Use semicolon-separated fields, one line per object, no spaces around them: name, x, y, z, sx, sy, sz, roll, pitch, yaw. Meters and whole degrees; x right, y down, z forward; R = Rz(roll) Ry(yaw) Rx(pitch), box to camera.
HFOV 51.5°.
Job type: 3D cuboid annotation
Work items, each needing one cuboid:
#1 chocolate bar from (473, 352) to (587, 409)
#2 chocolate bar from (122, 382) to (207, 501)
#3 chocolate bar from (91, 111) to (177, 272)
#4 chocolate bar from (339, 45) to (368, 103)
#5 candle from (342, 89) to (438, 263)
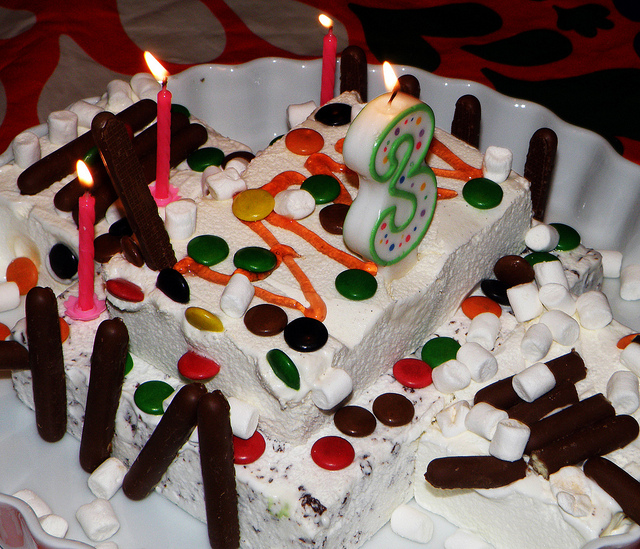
chocolate bar;0.476;0.246;1.505;0.178;0.049;0.052;-21;75;-14
chocolate bar;-0.389;0.382;1.425;0.101;0.421;0.101;32;30;-6
chocolate bar;-0.385;-0.166;1.398;0.065;0.365;0.062;-26;35;-19
chocolate bar;0.103;-0.636;2.076;0.078;0.026;0.248;3;55;-1
candle;0.147;-0.188;1.390;0.067;0.399;0.282;23;45;33
